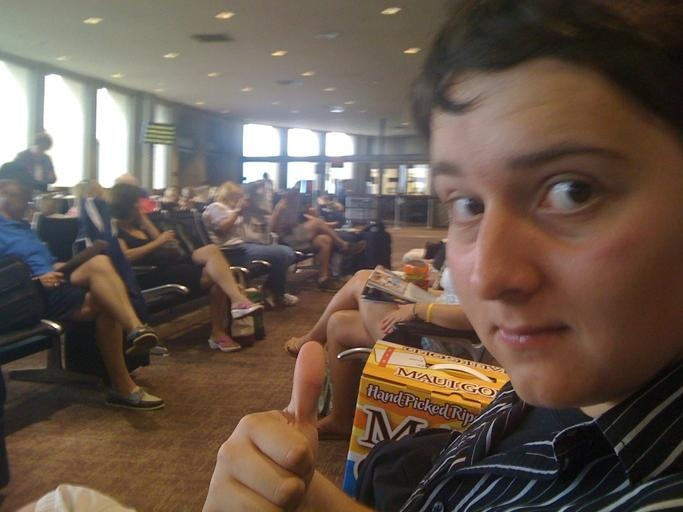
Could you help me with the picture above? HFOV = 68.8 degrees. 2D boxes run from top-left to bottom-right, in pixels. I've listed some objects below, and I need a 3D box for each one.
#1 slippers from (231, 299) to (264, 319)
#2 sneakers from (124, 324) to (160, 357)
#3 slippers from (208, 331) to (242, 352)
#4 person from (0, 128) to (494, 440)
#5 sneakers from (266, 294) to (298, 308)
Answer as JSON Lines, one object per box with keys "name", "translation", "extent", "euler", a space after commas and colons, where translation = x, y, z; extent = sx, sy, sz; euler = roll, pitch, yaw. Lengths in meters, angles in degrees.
{"name": "slippers", "translation": [-0.410, 0.242, 2.210], "extent": [0.151, 0.058, 0.052], "euler": [-12, -31, -6]}
{"name": "sneakers", "translation": [-0.731, 0.318, 1.824], "extent": [0.073, 0.068, 0.146], "euler": [15, -48, -43]}
{"name": "slippers", "translation": [-0.505, 0.377, 2.153], "extent": [0.144, 0.060, 0.068], "euler": [1, -1, 3]}
{"name": "person", "translation": [-0.283, 0.240, 1.930], "extent": [1.436, 0.791, 0.777], "euler": [0, -5, -8]}
{"name": "sneakers", "translation": [-0.270, 0.202, 2.289], "extent": [0.166, 0.063, 0.057], "euler": [-5, 8, -10]}
